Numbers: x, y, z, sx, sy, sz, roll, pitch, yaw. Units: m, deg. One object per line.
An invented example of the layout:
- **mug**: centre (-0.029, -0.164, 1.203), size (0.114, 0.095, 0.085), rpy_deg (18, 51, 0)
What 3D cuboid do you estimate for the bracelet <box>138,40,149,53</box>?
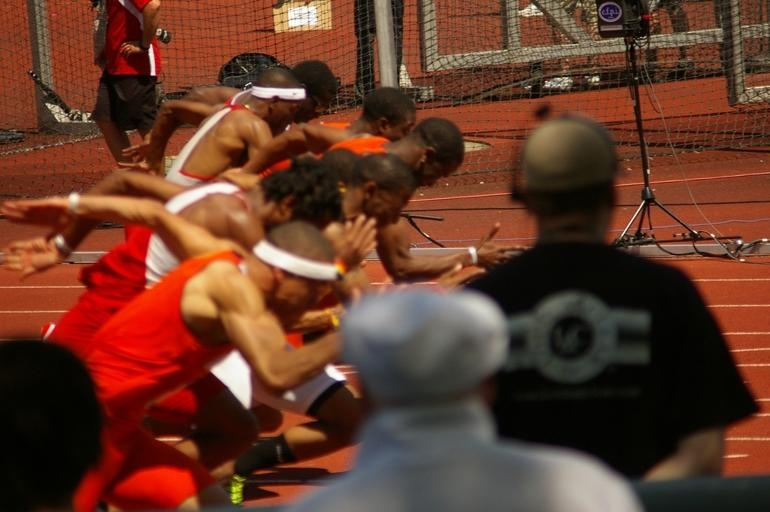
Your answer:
- **bracelet**: centre (-2.194, -1.895, 9.396), size (0.098, 0.056, 0.086), rpy_deg (4, 8, 5)
